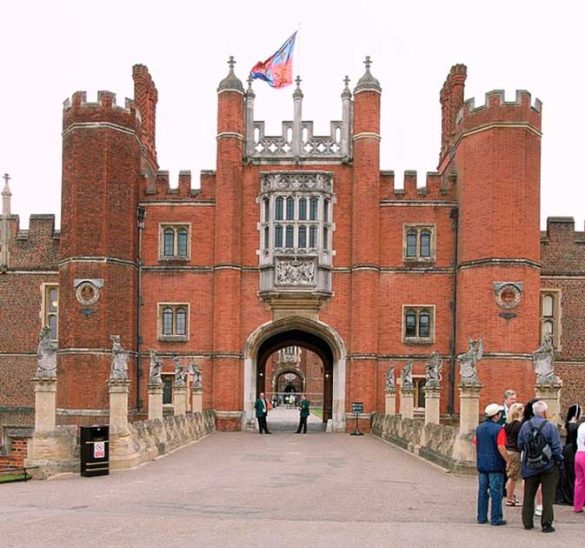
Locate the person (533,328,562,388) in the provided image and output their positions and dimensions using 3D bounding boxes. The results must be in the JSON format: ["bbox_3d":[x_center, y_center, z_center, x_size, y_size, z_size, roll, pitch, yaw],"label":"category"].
[{"bbox_3d":[5.990,1.998,32.192,0.588,1.320,1.398,-1,-8,10],"label":"person"}]

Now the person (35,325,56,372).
[{"bbox_3d":[-5.839,1.849,32.505,0.445,1.278,0.829,2,-8,-11],"label":"person"}]

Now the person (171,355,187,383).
[{"bbox_3d":[-3.657,3.041,44.140,0.344,0.459,0.949,-1,23,-5],"label":"person"}]

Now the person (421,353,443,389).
[{"bbox_3d":[3.753,2.627,36.754,0.436,1.021,1.496,0,-8,5],"label":"person"}]

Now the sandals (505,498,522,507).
[{"bbox_3d":[4.642,4.798,28.504,0.134,0.162,0.401,3,6,44],"label":"sandals"}]

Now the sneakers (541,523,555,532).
[{"bbox_3d":[4.927,4.941,26.428,0.102,0.200,0.284,2,4,37],"label":"sneakers"}]

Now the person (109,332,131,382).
[{"bbox_3d":[-4.248,2.050,33.591,0.419,1.187,0.868,2,-8,-8],"label":"person"}]

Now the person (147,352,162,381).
[{"bbox_3d":[-3.810,2.587,38.133,0.316,0.964,1.173,2,-8,-6],"label":"person"}]

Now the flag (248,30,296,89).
[{"bbox_3d":[-0.610,-7.812,47.786,1.553,0.410,2.833,23,-37,12],"label":"flag"}]

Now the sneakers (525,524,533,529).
[{"bbox_3d":[4.590,4.957,26.574,0.200,0.132,0.255,0,-8,8],"label":"sneakers"}]

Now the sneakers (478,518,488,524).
[{"bbox_3d":[3.735,4.902,26.904,0.196,0.086,0.067,-12,-9,30],"label":"sneakers"}]
